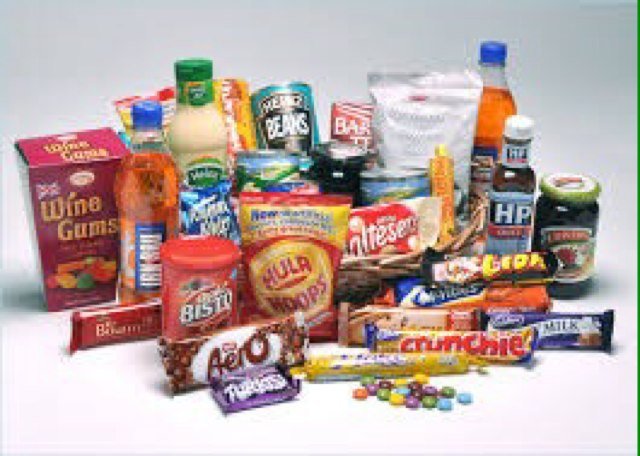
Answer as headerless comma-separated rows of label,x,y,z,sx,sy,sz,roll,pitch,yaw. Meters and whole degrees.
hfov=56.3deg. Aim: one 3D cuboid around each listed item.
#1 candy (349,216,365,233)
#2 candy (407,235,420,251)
candy,0.135,-0.011,2.183,0.064,0.064,0.058,-4,26,-5
candy,0.351,0.054,2.223,0.058,0.049,0.031,-18,21,-42
